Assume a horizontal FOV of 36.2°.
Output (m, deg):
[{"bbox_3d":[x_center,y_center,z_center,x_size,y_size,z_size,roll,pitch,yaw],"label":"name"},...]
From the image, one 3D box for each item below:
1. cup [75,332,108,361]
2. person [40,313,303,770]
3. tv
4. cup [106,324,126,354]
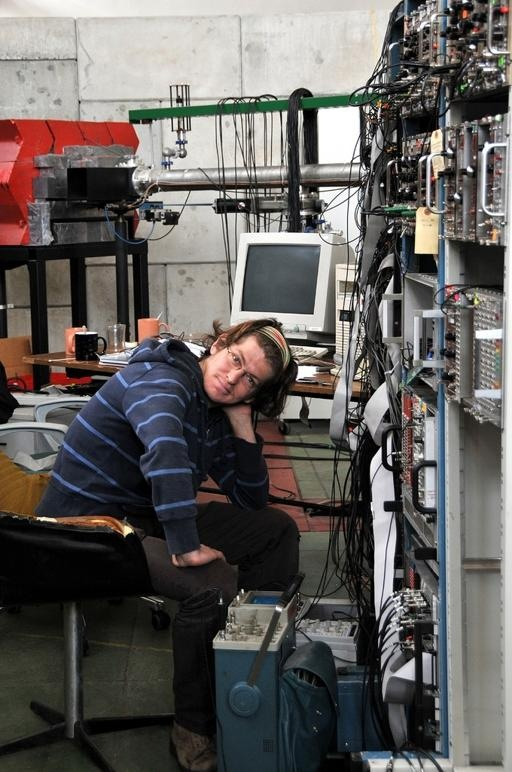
[{"bbox_3d":[-0.716,-0.174,3.537,0.158,0.136,0.102,3,4,-3],"label":"cup"},{"bbox_3d":[-0.183,0.280,2.498,0.927,1.572,0.899,1,6,11],"label":"person"},{"bbox_3d":[0.149,-0.475,3.676,0.645,0.650,0.459,5,5,34],"label":"tv"},{"bbox_3d":[-0.662,-0.226,3.755,0.112,0.181,0.147,0,4,-11],"label":"cup"}]
